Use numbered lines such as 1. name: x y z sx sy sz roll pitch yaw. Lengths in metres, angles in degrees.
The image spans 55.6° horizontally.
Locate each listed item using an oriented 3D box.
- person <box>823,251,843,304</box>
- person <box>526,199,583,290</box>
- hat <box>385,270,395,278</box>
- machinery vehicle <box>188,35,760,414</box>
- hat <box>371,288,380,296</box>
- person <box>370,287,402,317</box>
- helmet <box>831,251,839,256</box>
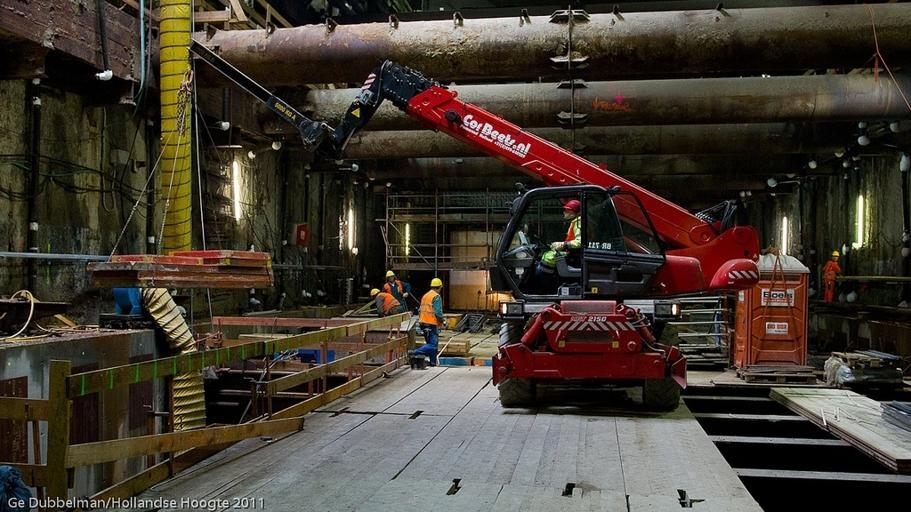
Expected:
1. person: 13.020 0.736 30.030 0.530 1.607 1.522 -1 0 23
2. person: 2.237 -0.215 19.288 1.192 1.991 0.502 -1 0 17
3. hat: -2.034 0.563 26.436 0.247 0.156 0.322 -2 -7 -6
4. machinery vehicle: 3.114 -0.139 22.459 15.072 7.412 5.008 0 1 4
5. hat: -2.379 1.056 25.073 0.266 0.251 0.323 1 4 -5
6. person: -2.130 1.356 24.937 0.968 0.459 0.724 23 18 37
7. helmet: 13.214 -0.090 30.235 0.296 0.140 0.413 0 -1 28
